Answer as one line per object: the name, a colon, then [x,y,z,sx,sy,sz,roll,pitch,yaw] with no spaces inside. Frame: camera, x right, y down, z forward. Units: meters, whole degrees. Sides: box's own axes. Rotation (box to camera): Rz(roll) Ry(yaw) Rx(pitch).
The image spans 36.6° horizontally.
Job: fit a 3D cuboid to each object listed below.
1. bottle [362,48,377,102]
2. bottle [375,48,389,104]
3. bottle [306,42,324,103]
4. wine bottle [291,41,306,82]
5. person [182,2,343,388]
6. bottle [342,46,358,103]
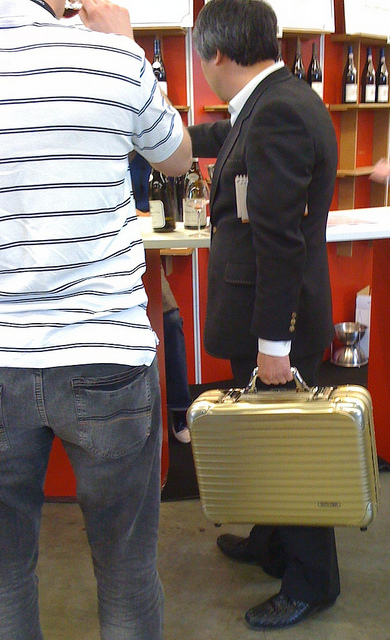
bottle: [1.202,-1.670,4.061,0.097,0.354,0.281,0,13,16]
bottle: [1.288,-1.685,4.067,0.093,0.384,0.231,1,13,17]
bottle: [0.759,-1.580,3.831,0.104,0.390,0.101,0,20,0]
wine bottle: [0.651,-1.650,3.745,0.083,0.231,0.158,1,13,17]
person: [0.161,-0.290,1.491,0.369,1.005,0.360,2,13,22]
bottle: [1.029,-1.626,3.925,0.098,0.365,0.158,0,13,15]
